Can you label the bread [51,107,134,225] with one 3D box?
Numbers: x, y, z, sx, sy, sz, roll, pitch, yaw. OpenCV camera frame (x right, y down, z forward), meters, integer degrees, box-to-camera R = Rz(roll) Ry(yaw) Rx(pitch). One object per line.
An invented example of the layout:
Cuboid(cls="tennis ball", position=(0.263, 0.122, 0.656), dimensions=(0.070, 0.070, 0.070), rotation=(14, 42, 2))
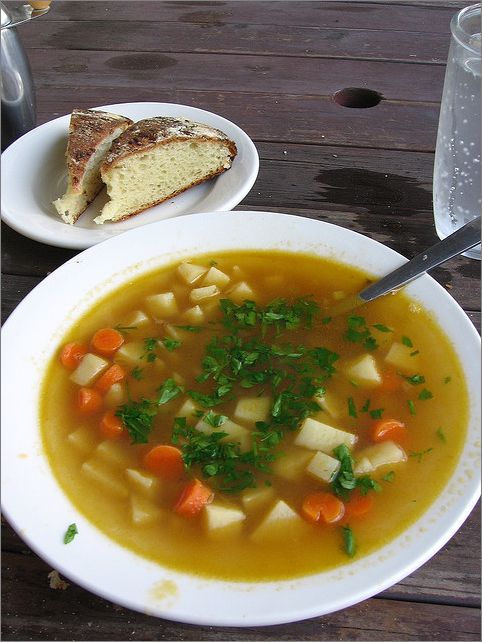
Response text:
Cuboid(cls="bread", position=(-0.651, -0.628, 2.663), dimensions=(0.311, 0.183, 0.529), rotation=(12, 59, 2))
